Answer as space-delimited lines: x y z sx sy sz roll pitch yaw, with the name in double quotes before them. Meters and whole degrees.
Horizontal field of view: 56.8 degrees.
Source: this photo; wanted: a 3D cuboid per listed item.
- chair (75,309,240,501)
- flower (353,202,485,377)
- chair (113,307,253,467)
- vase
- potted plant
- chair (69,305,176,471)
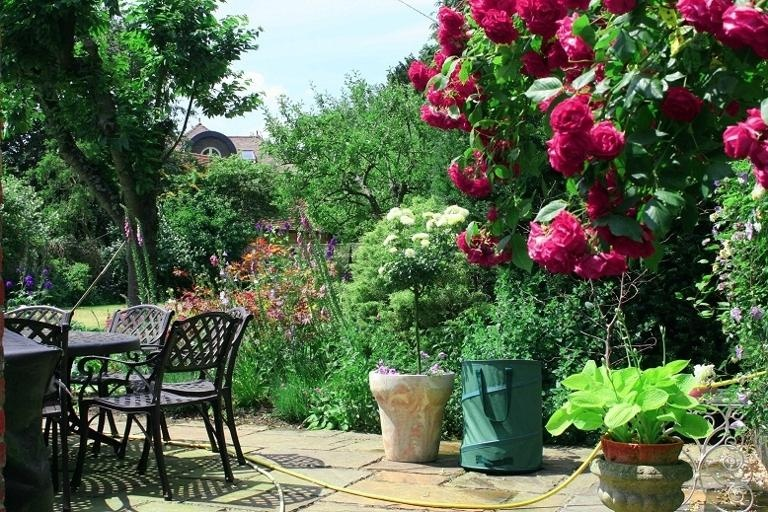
"chair" -1.641 1.038 5.198 0.915 1.275 0.902 1 -1 29
"flower" 0.364 0.181 7.748 0.994 1.423 1.270 -21 13 -31
"chair" -1.465 0.998 5.312 0.793 1.101 0.765 -11 -7 27
"vase" 0.230 1.334 5.907 0.736 0.676 0.731 -3 -8 20
"potted plant" 1.329 0.782 3.736 0.558 0.247 0.599 -4 2 3
"chair" -2.248 0.987 5.836 0.784 1.160 0.852 1 4 28
